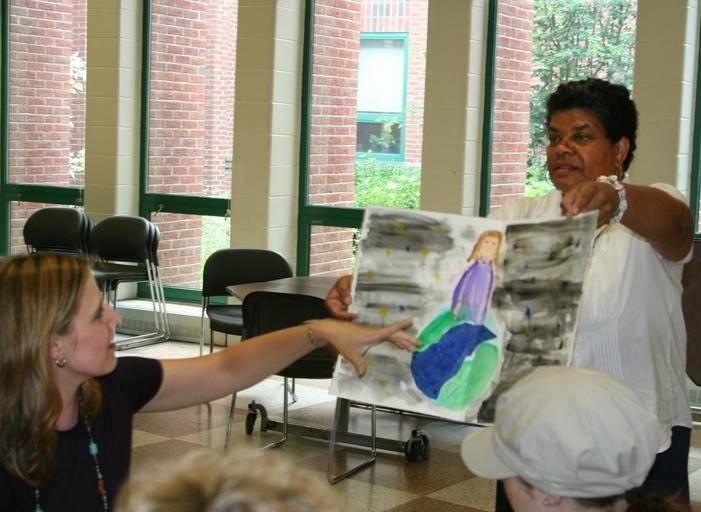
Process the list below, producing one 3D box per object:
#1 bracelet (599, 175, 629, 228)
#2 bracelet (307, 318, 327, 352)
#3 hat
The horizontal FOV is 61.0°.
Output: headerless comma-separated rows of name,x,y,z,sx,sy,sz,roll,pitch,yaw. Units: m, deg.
bracelet,0.581,-0.117,1.342,0.045,0.090,0.097,-5,15,-17
bracelet,-0.091,0.204,1.503,0.035,0.066,0.056,-10,23,-8
hat,0.312,0.299,0.976,0.309,0.118,0.175,7,45,11
